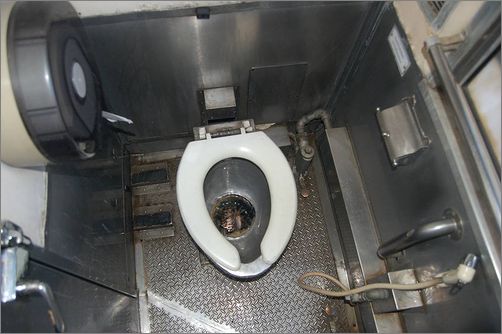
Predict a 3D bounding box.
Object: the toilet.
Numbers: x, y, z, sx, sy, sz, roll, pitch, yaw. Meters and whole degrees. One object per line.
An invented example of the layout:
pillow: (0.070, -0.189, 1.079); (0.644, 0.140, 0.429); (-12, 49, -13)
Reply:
toilet: (-0.101, 0.198, 2.131); (0.574, 0.530, 0.782); (-19, 77, -15)
